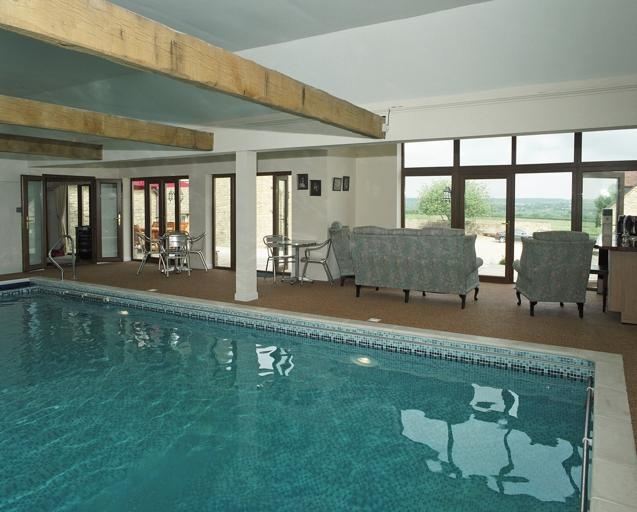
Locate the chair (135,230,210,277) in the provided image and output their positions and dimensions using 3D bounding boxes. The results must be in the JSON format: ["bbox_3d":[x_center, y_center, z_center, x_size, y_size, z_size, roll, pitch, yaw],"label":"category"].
[{"bbox_3d":[-3.525,-0.119,11.001,1.475,0.782,1.355,0,5,-6],"label":"chair"}]

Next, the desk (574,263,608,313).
[{"bbox_3d":[4.149,0.496,6.908,0.758,0.680,0.695,0,2,29],"label":"desk"}]

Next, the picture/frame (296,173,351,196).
[{"bbox_3d":[0.089,-1.503,9.659,1.092,0.466,0.562,-1,9,-3],"label":"picture/frame"}]

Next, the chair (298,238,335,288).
[{"bbox_3d":[-0.118,0.087,9.729,0.855,1.045,0.843,2,1,4],"label":"chair"}]
